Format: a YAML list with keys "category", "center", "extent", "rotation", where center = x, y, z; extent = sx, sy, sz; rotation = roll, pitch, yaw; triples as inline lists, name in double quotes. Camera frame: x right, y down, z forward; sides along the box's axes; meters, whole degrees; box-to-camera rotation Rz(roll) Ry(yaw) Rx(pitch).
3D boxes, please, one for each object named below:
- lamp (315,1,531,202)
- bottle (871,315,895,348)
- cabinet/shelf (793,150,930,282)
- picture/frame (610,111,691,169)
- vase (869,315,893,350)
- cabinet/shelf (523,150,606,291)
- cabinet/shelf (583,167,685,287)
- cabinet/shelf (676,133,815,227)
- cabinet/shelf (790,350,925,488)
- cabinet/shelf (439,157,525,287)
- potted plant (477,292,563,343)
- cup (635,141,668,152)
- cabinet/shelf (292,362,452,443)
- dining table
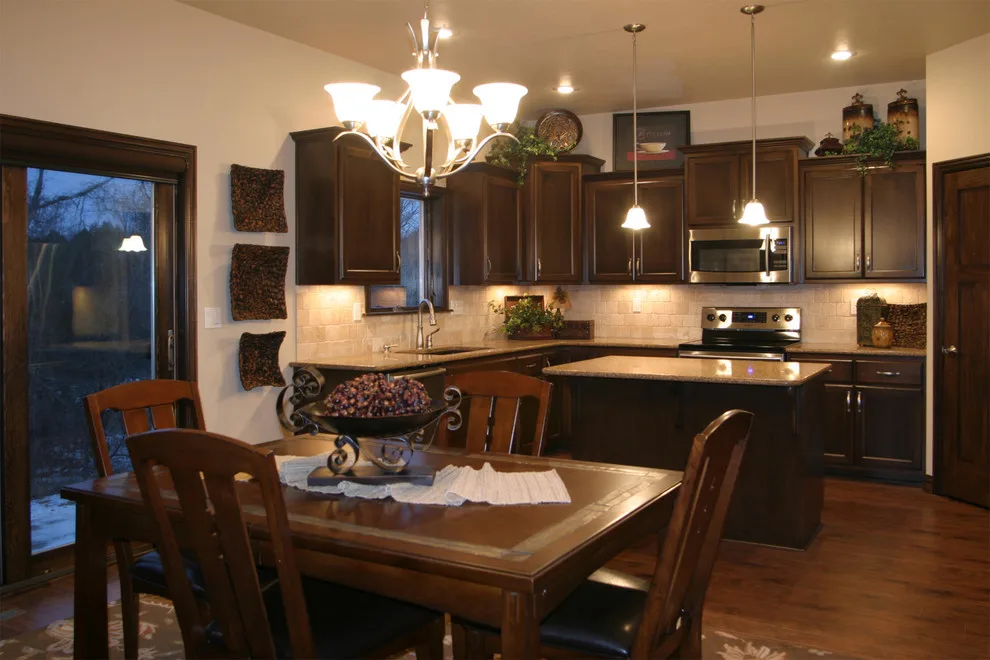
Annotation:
- category: "lamp"
  center: [-0.357, -1.214, 3.890]
  extent: [1.128, 0.977, 1.070]
  rotation: [-1, 10, -5]
- category: "bottle"
  center: [3.467, 0.033, 6.447]
  extent: [0.245, 0.332, 0.227]
  rotation: [1, 2, 0]
- category: "cabinet/shelf"
  center: [3.328, -1.047, 6.455]
  extent: [1.297, 1.425, 0.724]
  rotation: [0, -1, 22]
- category: "picture/frame"
  center: [1.616, -1.934, 7.336]
  extent: [0.985, 0.846, 0.091]
  rotation: [0, -3, 8]
- category: "vase"
  center: [3.462, 0.037, 6.449]
  extent: [0.229, 0.328, 0.231]
  rotation: [2, 2, 41]
- category: "cabinet/shelf"
  center: [0.710, -1.102, 7.627]
  extent: [0.896, 1.328, 0.730]
  rotation: [2, 1, 14]
- category: "cabinet/shelf"
  center: [1.419, -1.059, 7.182]
  extent: [1.281, 1.399, 0.701]
  rotation: [0, -1, 17]
- category: "cabinet/shelf"
  center: [2.323, -1.278, 6.953]
  extent: [1.106, 0.913, 0.435]
  rotation: [1, -12, 8]
- category: "cabinet/shelf"
  center: [3.371, 0.770, 6.473]
  extent: [0.567, 1.077, 1.156]
  rotation: [0, -1, -35]
- category: "cabinet/shelf"
  center: [-0.078, -1.022, 7.202]
  extent: [0.556, 1.116, 0.746]
  rotation: [4, 7, 41]
- category: "potted plant"
  center: [0.322, -0.148, 7.612]
  extent: [0.794, 0.455, 0.525]
  rotation: [0, 9, -1]
- category: "cup"
  center: [1.611, -1.872, 7.358]
  extent: [0.172, 0.058, 0.130]
  rotation: [-1, 4, 19]
- category: "cabinet/shelf"
  center: [-0.687, 0.374, 3.787]
  extent: [0.736, 0.274, 0.646]
  rotation: [1, -2, 7]
- category: "dining table"
  center: [-0.513, 0.859, 2.835]
  extent: [1.338, 0.612, 0.731]
  rotation: [1, 6, 30]
